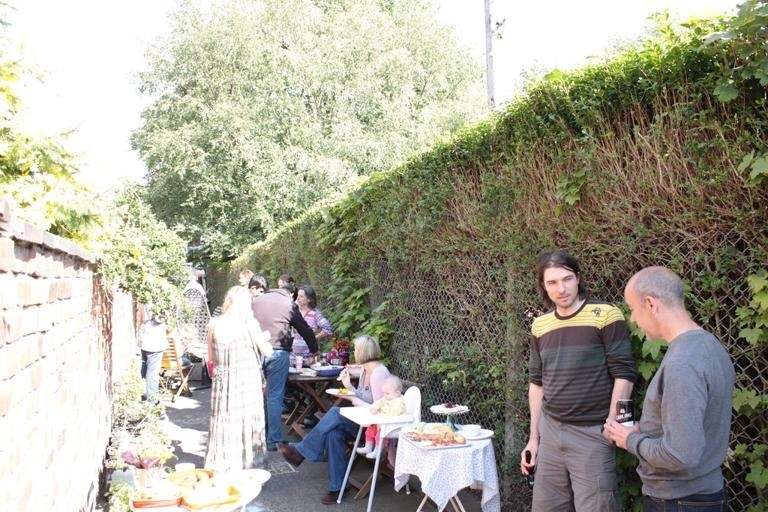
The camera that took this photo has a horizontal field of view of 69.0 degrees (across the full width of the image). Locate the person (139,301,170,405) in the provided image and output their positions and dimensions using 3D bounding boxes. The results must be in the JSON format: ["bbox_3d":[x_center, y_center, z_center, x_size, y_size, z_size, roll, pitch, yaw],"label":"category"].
[{"bbox_3d":[-3.870,1.677,9.330,0.398,1.432,1.002,3,-14,-24],"label":"person"}]

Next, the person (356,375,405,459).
[{"bbox_3d":[-0.061,1.943,6.553,0.506,1.017,0.958,-1,-14,-8],"label":"person"}]

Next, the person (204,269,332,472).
[{"bbox_3d":[-1.729,1.489,7.220,0.793,2.339,1.593,-3,-13,3],"label":"person"}]

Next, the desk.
[{"bbox_3d":[-0.089,2.351,7.320,2.035,2.807,1.199,16,-37,-21],"label":"desk"}]

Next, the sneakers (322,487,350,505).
[{"bbox_3d":[-0.571,2.822,6.602,0.349,0.164,0.122,6,-10,-39],"label":"sneakers"}]
